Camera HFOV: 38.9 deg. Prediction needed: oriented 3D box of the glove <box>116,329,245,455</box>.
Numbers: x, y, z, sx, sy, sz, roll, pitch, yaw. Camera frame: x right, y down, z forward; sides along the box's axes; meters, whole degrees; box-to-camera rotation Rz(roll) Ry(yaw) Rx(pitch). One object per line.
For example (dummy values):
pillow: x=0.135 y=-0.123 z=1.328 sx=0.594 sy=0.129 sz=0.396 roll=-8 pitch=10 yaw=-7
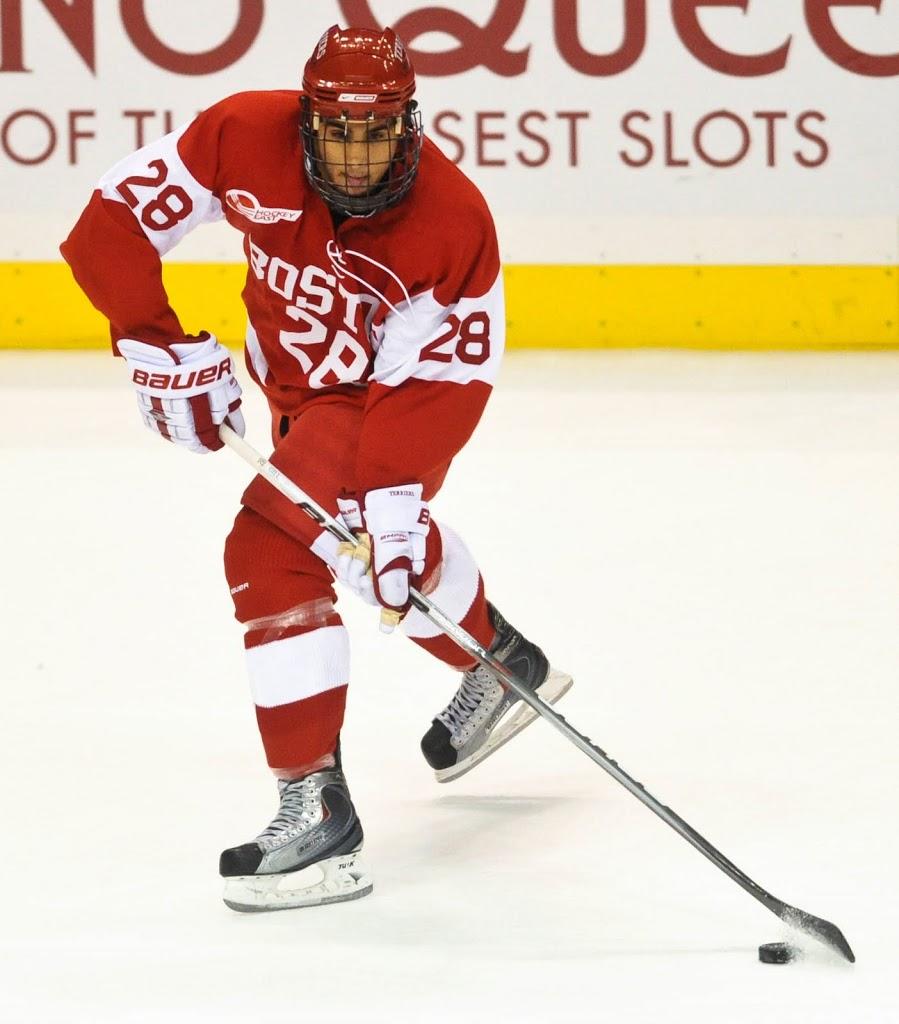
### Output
glove: x=-0.433 y=-0.195 z=2.051 sx=0.226 sy=0.176 sz=0.202 roll=8 pitch=20 yaw=22

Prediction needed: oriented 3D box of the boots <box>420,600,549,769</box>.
boots: x=0.038 y=0.321 z=2.210 sx=0.115 sy=0.201 sz=0.330 roll=22 pitch=46 yaw=38

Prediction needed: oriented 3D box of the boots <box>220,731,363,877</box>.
boots: x=-0.233 y=0.421 z=1.787 sx=0.085 sy=0.144 sz=0.257 roll=5 pitch=8 yaw=40

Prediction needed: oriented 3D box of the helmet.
helmet: x=-0.127 y=-0.566 z=1.825 sx=0.170 sy=0.275 sz=0.150 roll=1 pitch=9 yaw=-4

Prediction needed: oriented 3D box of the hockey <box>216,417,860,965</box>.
hockey: x=0.160 y=0.315 z=2.208 sx=1.456 sy=0.034 sz=0.204 roll=29 pitch=-11 yaw=16
